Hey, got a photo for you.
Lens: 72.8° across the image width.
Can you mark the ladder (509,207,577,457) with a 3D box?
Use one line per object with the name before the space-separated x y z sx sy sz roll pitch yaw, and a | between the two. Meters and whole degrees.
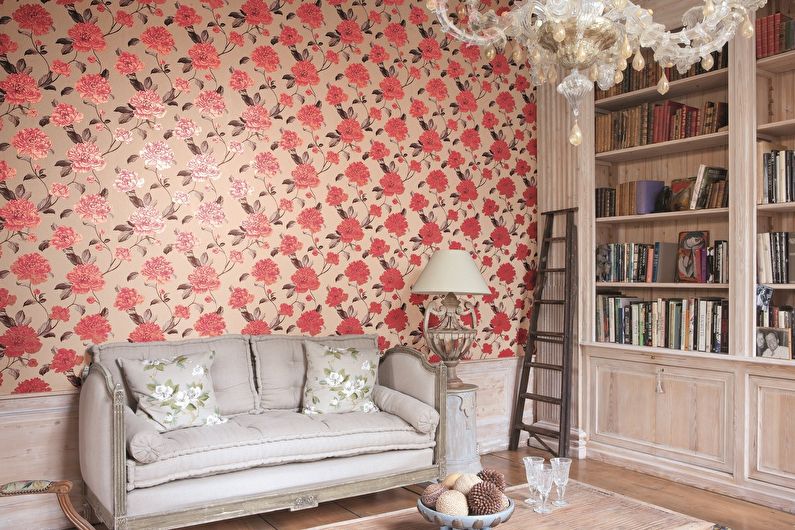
ladder | 1.386 0.616 5.110 0.662 2.292 0.644 0 3 44
